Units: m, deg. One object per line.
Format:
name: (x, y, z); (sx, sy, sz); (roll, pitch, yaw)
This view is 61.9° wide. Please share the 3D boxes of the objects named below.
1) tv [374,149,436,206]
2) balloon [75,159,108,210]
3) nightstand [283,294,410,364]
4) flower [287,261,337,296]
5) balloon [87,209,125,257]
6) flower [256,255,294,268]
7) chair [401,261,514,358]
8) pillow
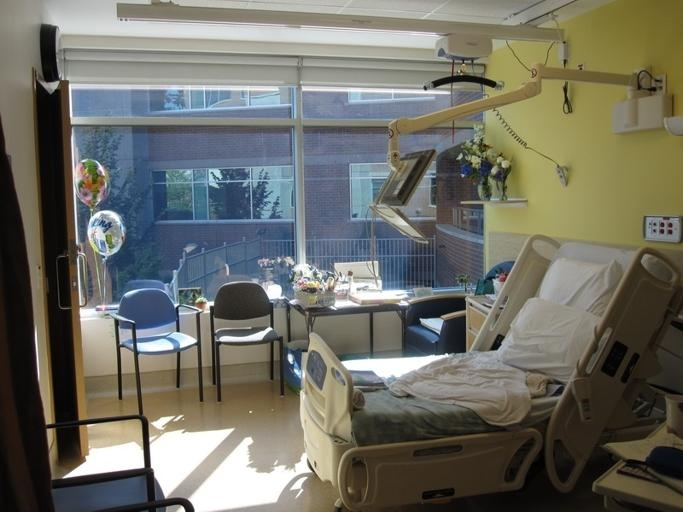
tv: (0.336, -0.415, 2.985); (0.256, 0.287, 0.277); (-8, 15, -24)
balloon: (-2.205, -0.602, 5.024); (0.289, 0.548, 0.308); (-2, -1, -34)
nightstand: (0.214, 0.733, 5.175); (0.535, 0.623, 0.802); (-22, -21, 24)
flower: (-0.263, 0.217, 5.368); (0.321, 0.158, 0.304); (8, 10, -5)
balloon: (-2.091, -0.205, 5.099); (0.363, 0.451, 0.378); (5, 7, -12)
flower: (-0.649, 0.059, 5.618); (0.151, 0.084, 0.210); (-15, -16, 29)
chair: (1.097, 0.455, 5.639); (0.973, 1.209, 0.814); (-1, 1, -13)
pillow: (1.356, 0.533, 3.692); (0.153, 0.507, 0.456); (41, -7, -40)
